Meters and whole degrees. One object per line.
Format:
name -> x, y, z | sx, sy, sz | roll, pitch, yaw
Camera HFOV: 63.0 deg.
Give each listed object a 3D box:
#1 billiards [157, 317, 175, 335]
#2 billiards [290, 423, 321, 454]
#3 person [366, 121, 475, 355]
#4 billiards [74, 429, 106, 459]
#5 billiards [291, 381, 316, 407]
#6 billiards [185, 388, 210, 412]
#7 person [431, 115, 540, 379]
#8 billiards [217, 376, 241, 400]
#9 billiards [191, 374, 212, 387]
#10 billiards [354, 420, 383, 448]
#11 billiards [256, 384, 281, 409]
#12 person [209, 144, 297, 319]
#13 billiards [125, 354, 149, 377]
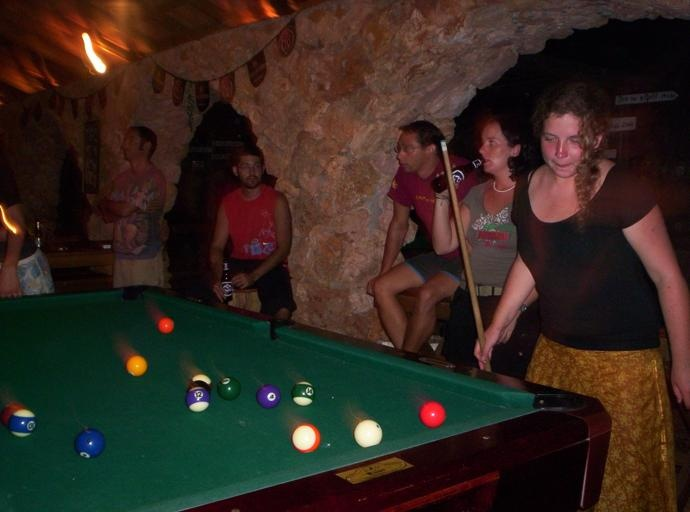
billiards -> -0.953, 0.368, 2.990 | 0.085, 0.088, 0.087 | -6, 51, -22
billiards -> -0.132, 0.617, 1.947 | 0.087, 0.087, 0.099 | -21, 5, -29
person -> 0.500, -0.006, 4.309 | 0.696, 1.866, 0.752 | -1, 4, -29
billiards -> -0.868, 0.618, 1.899 | 0.087, 0.079, 0.126 | -13, 18, -39
billiards -> -0.162, 0.536, 2.178 | 0.083, 0.096, 0.084 | 4, -1, -42
billiards -> -0.563, 0.547, 2.138 | 0.084, 0.069, 0.084 | 2, -10, -6
person -> 0.949, -0.136, 3.643 | 0.629, 1.663, 0.608 | -2, 5, -36
billiards -> -0.461, 0.525, 2.223 | 0.082, 0.087, 0.083 | 2, 6, 3
billiards -> -0.581, 0.500, 2.276 | 0.061, 0.034, 0.060 | 16, 2, -44
billiards -> 0.083, 0.632, 1.956 | 0.083, 0.087, 0.085 | -13, 41, -11
billiards -> -0.301, 0.544, 2.202 | 0.099, 0.079, 0.076 | -3, 15, -8
person -> -0.805, -0.121, 4.825 | 0.656, 1.699, 0.709 | 2, 4, 22
billiards -> -0.921, 0.476, 2.468 | 0.086, 0.088, 0.042 | -17, 1, -17
